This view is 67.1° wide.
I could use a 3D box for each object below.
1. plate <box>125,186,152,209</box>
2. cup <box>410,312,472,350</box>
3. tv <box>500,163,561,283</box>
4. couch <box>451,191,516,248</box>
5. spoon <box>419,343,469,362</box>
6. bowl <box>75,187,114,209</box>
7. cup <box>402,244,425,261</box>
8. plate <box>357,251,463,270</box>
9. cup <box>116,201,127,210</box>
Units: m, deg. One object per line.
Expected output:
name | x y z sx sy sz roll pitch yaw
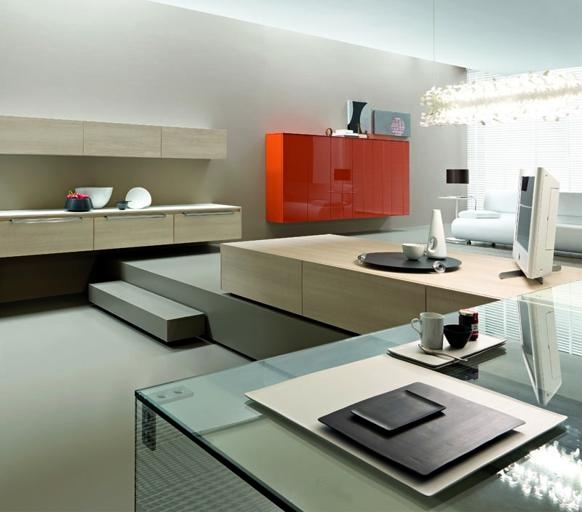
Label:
plate | -1.957 -0.720 5.476 0.333 0.256 0.316 -1 7 -3
cup | 0.381 0.188 1.122 0.133 0.064 0.071 -3 9 -9
tv | 1.225 -0.168 2.273 0.264 0.581 0.504 3 7 30
couch | 3.224 -0.582 6.902 1.108 0.848 1.024 -2 3 -44
spoon | 0.360 0.219 1.035 0.031 0.019 0.136 0 7 -20
bowl | -2.300 -0.683 5.085 0.325 0.187 0.304 -1 4 0
cup | 0.773 -0.023 2.763 0.121 0.069 0.113 1 3 0
plate | 0.716 0.033 2.721 0.614 0.064 0.493 3 7 25
cup | -2.026 -0.595 5.198 0.115 0.072 0.110 0 1 0
